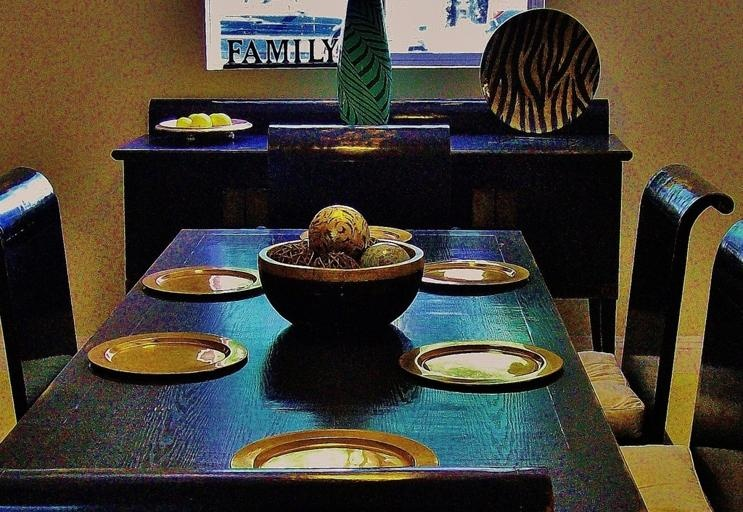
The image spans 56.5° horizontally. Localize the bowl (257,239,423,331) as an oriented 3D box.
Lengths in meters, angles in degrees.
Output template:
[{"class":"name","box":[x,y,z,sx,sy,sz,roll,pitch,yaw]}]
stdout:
[{"class":"bowl","box":[-0.062,0.053,1.354,0.320,0.132,0.325,1,12,0]}]
